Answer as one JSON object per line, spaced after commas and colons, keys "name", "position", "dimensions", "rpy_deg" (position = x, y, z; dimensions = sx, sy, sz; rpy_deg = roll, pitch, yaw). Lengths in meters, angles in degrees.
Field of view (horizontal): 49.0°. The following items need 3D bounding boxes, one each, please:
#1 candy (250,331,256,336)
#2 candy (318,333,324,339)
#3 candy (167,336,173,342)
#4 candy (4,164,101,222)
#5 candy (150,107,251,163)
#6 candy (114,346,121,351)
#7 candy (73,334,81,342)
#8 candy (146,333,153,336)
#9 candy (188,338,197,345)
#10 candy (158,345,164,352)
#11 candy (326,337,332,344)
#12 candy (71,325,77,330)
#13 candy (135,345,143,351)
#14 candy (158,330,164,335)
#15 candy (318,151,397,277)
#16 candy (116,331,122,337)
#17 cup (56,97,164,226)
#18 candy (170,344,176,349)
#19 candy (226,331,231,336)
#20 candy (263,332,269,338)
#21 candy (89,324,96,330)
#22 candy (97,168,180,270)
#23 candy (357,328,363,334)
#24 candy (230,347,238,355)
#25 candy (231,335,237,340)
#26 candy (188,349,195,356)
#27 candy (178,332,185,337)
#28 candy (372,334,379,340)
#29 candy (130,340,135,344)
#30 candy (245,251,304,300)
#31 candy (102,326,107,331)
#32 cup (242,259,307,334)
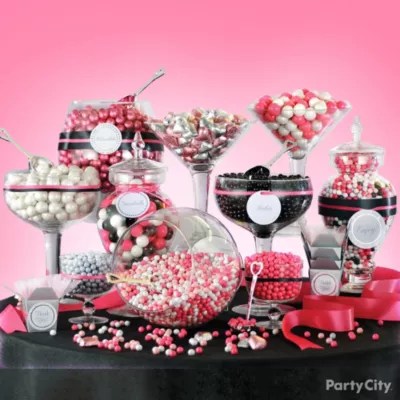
{"name": "candy", "position": [0.101, 0.244, 0.811], "dimensions": [0.011, 0.004, 0.010], "rpy_deg": [0, 3, 4]}
{"name": "candy", "position": [0.223, 0.250, 0.814], "dimensions": [0.013, 0.010, 0.007], "rpy_deg": [10, 26, -5]}
{"name": "candy", "position": [-0.054, 0.244, 0.773], "dimensions": [0.011, 0.004, 0.009], "rpy_deg": [8, 6, -24]}
{"name": "candy", "position": [-0.361, -0.016, 1.083], "dimensions": [0.229, 0.157, 0.172], "rpy_deg": [-1, 3, -4]}
{"name": "candy", "position": [-0.008, -0.144, 1.121], "dimensions": [0.209, 0.082, 0.193], "rpy_deg": [2, 4, 40]}
{"name": "candy", "position": [-0.141, 0.255, 0.757], "dimensions": [0.011, 0.004, 0.010], "rpy_deg": [-19, 33, -28]}
{"name": "candy", "position": [-0.224, 0.251, 0.800], "dimensions": [0.010, 0.005, 0.010], "rpy_deg": [15, 43, 37]}
{"name": "candy", "position": [-0.095, 0.250, 0.820], "dimensions": [0.006, 0.006, 0.006], "rpy_deg": [39, -8, 0]}
{"name": "candy", "position": [-0.012, 0.248, 0.774], "dimensions": [0.012, 0.011, 0.009], "rpy_deg": [-16, 5, 38]}
{"name": "candy", "position": [-0.065, 0.251, 0.748], "dimensions": [0.011, 0.008, 0.007], "rpy_deg": [3, 14, 37]}
{"name": "candy", "position": [0.229, 0.248, 0.779], "dimensions": [0.012, 0.005, 0.011], "rpy_deg": [-6, 5, 16]}
{"name": "candy", "position": [-0.250, 0.252, 0.873], "dimensions": [0.010, 0.004, 0.008], "rpy_deg": [-2, 23, -12]}
{"name": "candy", "position": [-0.105, 0.253, 0.757], "dimensions": [0.011, 0.007, 0.009], "rpy_deg": [-4, 8, -15]}
{"name": "candy", "position": [-0.071, 0.248, 0.821], "dimensions": [0.009, 0.007, 0.007], "rpy_deg": [4, -19, 1]}
{"name": "candy", "position": [0.412, 0.039, 1.130], "dimensions": [0.202, 0.345, 0.228], "rpy_deg": [-1, 4, 11]}
{"name": "candy", "position": [-0.149, 0.249, 0.819], "dimensions": [0.009, 0.007, 0.011], "rpy_deg": [11, 29, 23]}
{"name": "cup", "position": [-0.255, -0.125, 1.398], "dimensions": [0.392, 0.331, 0.408], "rpy_deg": [0, 1, 0]}
{"name": "candy", "position": [-0.045, 0.248, 0.747], "dimensions": [0.010, 0.004, 0.008], "rpy_deg": [-16, 34, -26]}
{"name": "candy", "position": [0.053, 0.254, 0.834], "dimensions": [0.007, 0.005, 0.006], "rpy_deg": [0, -12, 7]}
{"name": "candy", "position": [0.122, 0.251, 0.817], "dimensions": [0.012, 0.008, 0.009], "rpy_deg": [3, -18, 3]}
{"name": "candy", "position": [-0.212, 0.249, 0.864], "dimensions": [0.012, 0.006, 0.015], "rpy_deg": [9, 5, 31]}
{"name": "candy", "position": [-0.175, 0.036, 1.001], "dimensions": [0.260, 0.210, 0.213], "rpy_deg": [0, 0, -3]}
{"name": "candy", "position": [0.307, 0.250, 0.841], "dimensions": [0.014, 0.006, 0.011], "rpy_deg": [-4, -28, 13]}
{"name": "candy", "position": [0.057, 0.253, 0.737], "dimensions": [0.013, 0.012, 0.010], "rpy_deg": [1, -12, -3]}
{"name": "candy", "position": [0.062, 0.249, 0.798], "dimensions": [0.011, 0.008, 0.010], "rpy_deg": [5, -5, 18]}
{"name": "candy", "position": [-0.014, 0.253, 0.730], "dimensions": [0.012, 0.008, 0.005], "rpy_deg": [-4, 16, 9]}
{"name": "candy", "position": [-0.034, 0.248, 0.815], "dimensions": [0.010, 0.007, 0.010], "rpy_deg": [6, 4, 41]}
{"name": "candy", "position": [0.320, 0.250, 0.803], "dimensions": [0.011, 0.007, 0.009], "rpy_deg": [0, -8, 4]}
{"name": "candy", "position": [-0.121, 0.252, 0.782], "dimensions": [0.007, 0.003, 0.006], "rpy_deg": [3, 7, 22]}
{"name": "candy", "position": [0.161, 0.161, 0.965], "dimensions": [0.137, 0.066, 0.112], "rpy_deg": [0, -2, -2]}
{"name": "candy", "position": [-0.186, 0.250, 0.856], "dimensions": [0.009, 0.008, 0.009], "rpy_deg": [25, 38, -26]}
{"name": "cup", "position": [0.133, 0.197, 0.904], "dimensions": [0.158, 0.112, 0.142], "rpy_deg": [0, 3, 0]}
